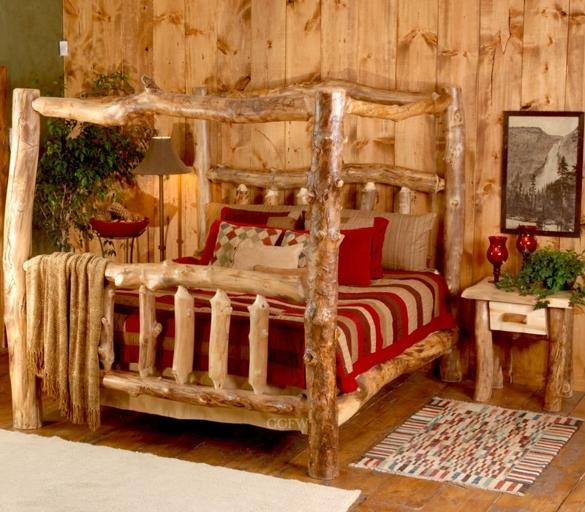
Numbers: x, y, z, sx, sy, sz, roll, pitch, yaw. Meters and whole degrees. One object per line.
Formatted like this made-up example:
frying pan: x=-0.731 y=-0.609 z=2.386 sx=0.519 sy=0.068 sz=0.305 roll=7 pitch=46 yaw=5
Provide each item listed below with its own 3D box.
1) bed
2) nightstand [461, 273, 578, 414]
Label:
bed: x=-0.148 y=0.144 z=3.904 sx=2.171 sy=2.065 sz=2.271 roll=2 pitch=5 yaw=25
nightstand: x=1.398 y=0.383 z=4.072 sx=0.850 sy=0.932 sz=0.670 roll=4 pitch=11 yaw=33
